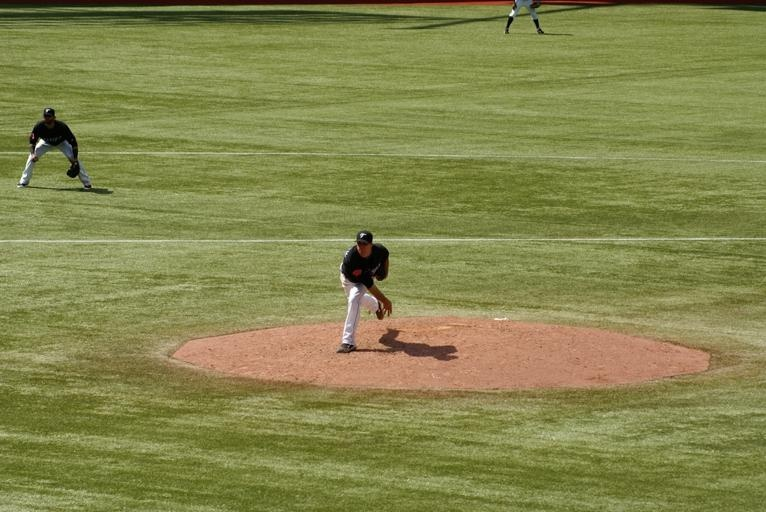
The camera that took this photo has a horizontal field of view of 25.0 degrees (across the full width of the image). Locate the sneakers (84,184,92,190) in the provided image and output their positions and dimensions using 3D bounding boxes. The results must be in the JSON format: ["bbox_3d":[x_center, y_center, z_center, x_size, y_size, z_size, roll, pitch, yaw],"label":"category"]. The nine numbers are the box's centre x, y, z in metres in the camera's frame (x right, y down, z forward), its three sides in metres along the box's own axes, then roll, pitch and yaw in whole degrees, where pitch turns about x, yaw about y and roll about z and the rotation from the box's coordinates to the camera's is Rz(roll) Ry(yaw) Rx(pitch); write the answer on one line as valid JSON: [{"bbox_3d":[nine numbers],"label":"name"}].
[{"bbox_3d":[-6.340,-1.518,37.278,0.145,0.111,0.161,-2,12,-9],"label":"sneakers"}]

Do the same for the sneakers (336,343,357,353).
[{"bbox_3d":[-0.621,1.568,29.550,0.353,0.117,0.135,-2,12,-28],"label":"sneakers"}]

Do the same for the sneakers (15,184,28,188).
[{"bbox_3d":[-7.778,-1.541,37.312,0.226,0.072,0.082,0,12,24],"label":"sneakers"}]

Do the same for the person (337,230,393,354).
[{"bbox_3d":[-0.301,0.532,29.972,0.913,2.021,1.514,0,14,1],"label":"person"}]

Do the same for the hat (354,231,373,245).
[{"bbox_3d":[-0.299,-0.316,29.688,0.278,0.166,0.342,6,-1,11],"label":"hat"}]

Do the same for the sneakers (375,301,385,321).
[{"bbox_3d":[-0.044,0.956,30.262,0.166,0.286,0.113,-13,23,-4],"label":"sneakers"}]
